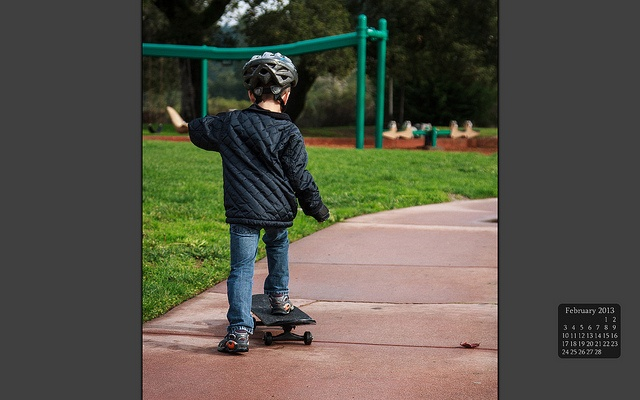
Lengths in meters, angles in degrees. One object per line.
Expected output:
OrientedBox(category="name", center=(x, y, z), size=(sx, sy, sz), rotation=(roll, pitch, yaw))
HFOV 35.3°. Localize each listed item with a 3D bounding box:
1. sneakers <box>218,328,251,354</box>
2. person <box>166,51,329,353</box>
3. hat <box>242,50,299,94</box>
OrientedBox(category="sneakers", center=(-0.844, 1.340, 9.639), size=(0.219, 0.267, 0.510), rotation=(9, -14, -27))
OrientedBox(category="person", center=(-0.593, 0.021, 9.647), size=(1.212, 2.872, 0.453), rotation=(1, 2, -8))
OrientedBox(category="hat", center=(-0.491, -1.193, 9.596), size=(0.370, 0.445, 0.466), rotation=(2, 18, 1))
